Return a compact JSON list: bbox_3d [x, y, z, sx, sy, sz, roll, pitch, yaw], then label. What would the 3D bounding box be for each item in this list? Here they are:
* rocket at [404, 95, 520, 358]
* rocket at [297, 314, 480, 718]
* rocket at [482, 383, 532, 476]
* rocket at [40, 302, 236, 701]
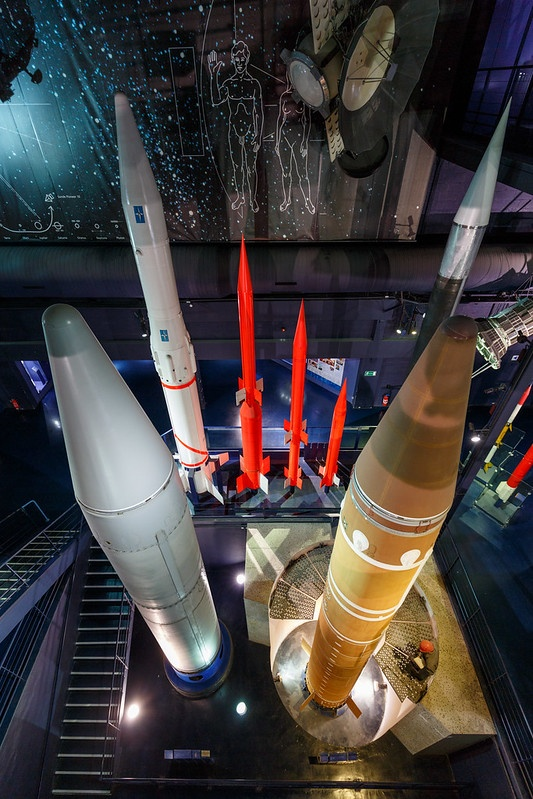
[{"bbox_3d":[3.042,-2.393,7.295,0.584,3.666,0.443,7,40,12],"label":"rocket"},{"bbox_3d":[1.120,2.470,5.343,1.023,7.534,0.531,18,43,24],"label":"rocket"},{"bbox_3d":[5.821,0.858,11.160,0.578,2.427,0.590,17,21,-6],"label":"rocket"},{"bbox_3d":[-1.274,2.281,5.751,1.016,7.646,0.747,-32,47,-31],"label":"rocket"}]
